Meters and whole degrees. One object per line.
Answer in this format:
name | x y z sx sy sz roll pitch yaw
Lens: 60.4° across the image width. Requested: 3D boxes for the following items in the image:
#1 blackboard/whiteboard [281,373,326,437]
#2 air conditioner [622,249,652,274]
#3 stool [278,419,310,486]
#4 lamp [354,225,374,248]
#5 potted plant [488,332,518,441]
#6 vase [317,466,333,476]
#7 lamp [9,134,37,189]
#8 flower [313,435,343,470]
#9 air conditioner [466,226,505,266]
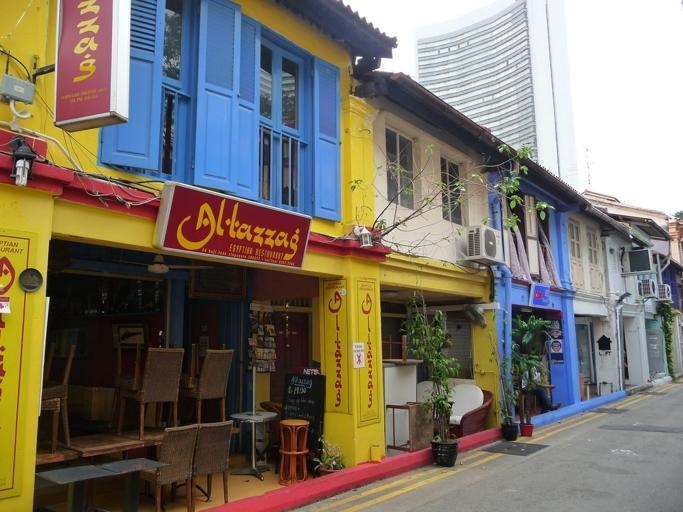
blackboard/whiteboard | -0.551 2.348 9.117 0.769 1.116 0.118 -8 -19 34
air conditioner | 10.517 0.233 20.830 0.655 0.680 0.349 -9 -30 32
stool | -0.683 2.919 8.671 0.630 1.189 0.720 1 -15 -7
lamp | 0.376 -0.322 9.349 0.329 0.362 0.158 3 -14 -18
potted plant | 3.451 2.778 12.459 0.439 2.161 0.703 -5 -14 14
vase | -0.243 3.195 8.716 0.311 0.123 0.162 -10 -16 28
lamp | -3.307 -0.984 6.086 0.231 0.513 0.214 6 -15 -30
flower | -0.189 2.997 8.897 0.405 0.477 0.441 8 -18 -30
air conditioner | 2.904 -0.190 11.939 0.277 0.593 0.669 -8 -13 35
